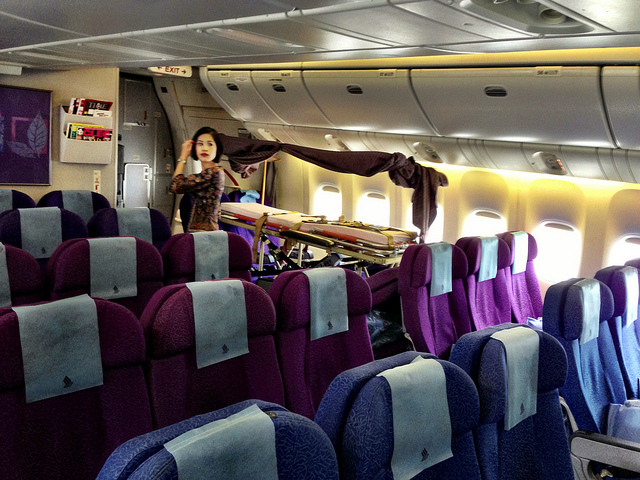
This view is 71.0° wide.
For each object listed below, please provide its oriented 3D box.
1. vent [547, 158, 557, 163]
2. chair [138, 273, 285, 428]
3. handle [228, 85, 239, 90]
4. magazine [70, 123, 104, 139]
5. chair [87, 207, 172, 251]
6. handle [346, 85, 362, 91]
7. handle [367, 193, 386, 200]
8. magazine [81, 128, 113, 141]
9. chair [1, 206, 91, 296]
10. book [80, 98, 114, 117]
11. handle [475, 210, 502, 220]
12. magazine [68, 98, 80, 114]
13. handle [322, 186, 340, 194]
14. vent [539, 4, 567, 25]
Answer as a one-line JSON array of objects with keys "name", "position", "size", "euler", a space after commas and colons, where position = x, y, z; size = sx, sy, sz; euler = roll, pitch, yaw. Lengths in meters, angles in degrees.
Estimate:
[{"name": "vent", "position": [2.648, -0.908, 5.119], "size": [0.054, 0.015, 0.049], "euler": [5, -14, -9]}, {"name": "chair", "position": [-0.451, 0.462, 2.035], "size": [0.534, 0.685, 0.592], "euler": [-4, -10, -21]}, {"name": "handle", "position": [-1.340, -2.362, 6.969], "size": [0.104, 0.065, 0.025], "euler": [6, 10, 32]}, {"name": "magazine", "position": [-3.483, -1.606, 6.634], "size": [0.479, 0.292, 0.106], "euler": [1, -2, -31]}, {"name": "chair", "position": [-1.814, -0.153, 4.371], "size": [0.519, 0.650, 0.586], "euler": [-4, 2, -42]}, {"name": "handle", "position": [0.416, -1.892, 5.608], "size": [0.096, 0.020, 0.087], "euler": [1, 1, -23]}, {"name": "handle", "position": [0.949, -0.741, 7.606], "size": [0.348, 0.105, 0.097], "euler": [4, 3, 44]}, {"name": "magazine", "position": [-3.371, -1.583, 6.752], "size": [0.081, 0.189, 0.395], "euler": [11, 6, 37]}, {"name": "chair", "position": [-2.361, 0.100, 4.153], "size": [0.865, 0.858, 0.750], "euler": [-3, 11, -38]}, {"name": "book", "position": [-3.394, -1.993, 6.708], "size": [0.342, 0.294, 0.081], "euler": [-4, 19, -43]}, {"name": "handle", "position": [2.328, -0.350, 6.192], "size": [0.061, 0.127, 0.385], "euler": [1, 2, -32]}, {"name": "magazine", "position": [-3.601, -1.951, 6.532], "size": [0.124, 0.250, 0.067], "euler": [1, 2, -27]}, {"name": "handle", "position": [0.196, -0.929, 8.351], "size": [0.059, 0.148, 0.445], "euler": [1, 2, -39]}, {"name": "vent", "position": [1.289, -1.245, 2.495], "size": [0.136, 0.041, 0.137], "euler": [2, -9, 38]}]
